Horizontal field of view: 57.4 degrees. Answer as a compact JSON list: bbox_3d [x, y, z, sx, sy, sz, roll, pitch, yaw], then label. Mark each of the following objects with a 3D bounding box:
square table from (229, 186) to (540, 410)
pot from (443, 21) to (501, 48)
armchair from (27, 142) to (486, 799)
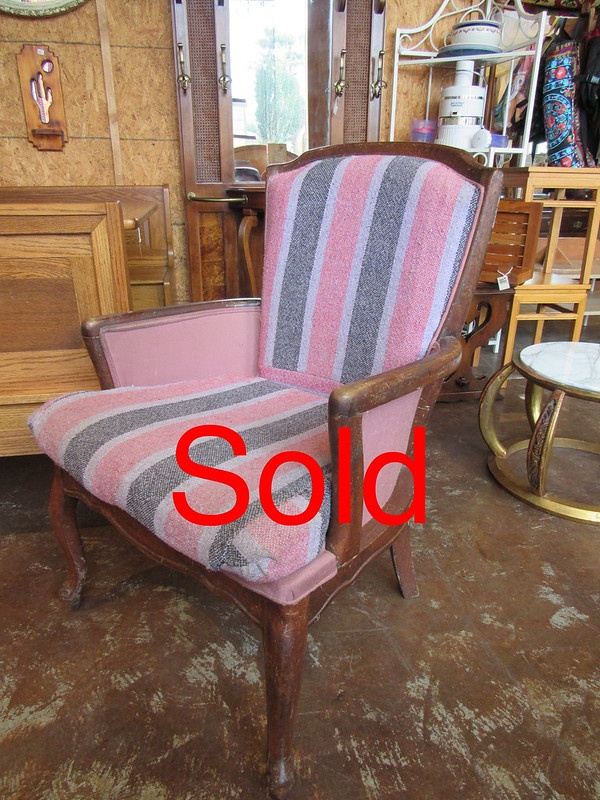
[{"bbox_3d":[0.354,-0.660,3.107,1.253,1.608,1.233,13,28,23],"label":"square table"},{"bbox_3d":[0.862,-1.813,2.724,0.202,0.078,0.188,0,29,0],"label":"pot"},{"bbox_3d":[-0.076,0.005,1.114,0.701,0.984,0.803,18,30,30],"label":"armchair"}]
